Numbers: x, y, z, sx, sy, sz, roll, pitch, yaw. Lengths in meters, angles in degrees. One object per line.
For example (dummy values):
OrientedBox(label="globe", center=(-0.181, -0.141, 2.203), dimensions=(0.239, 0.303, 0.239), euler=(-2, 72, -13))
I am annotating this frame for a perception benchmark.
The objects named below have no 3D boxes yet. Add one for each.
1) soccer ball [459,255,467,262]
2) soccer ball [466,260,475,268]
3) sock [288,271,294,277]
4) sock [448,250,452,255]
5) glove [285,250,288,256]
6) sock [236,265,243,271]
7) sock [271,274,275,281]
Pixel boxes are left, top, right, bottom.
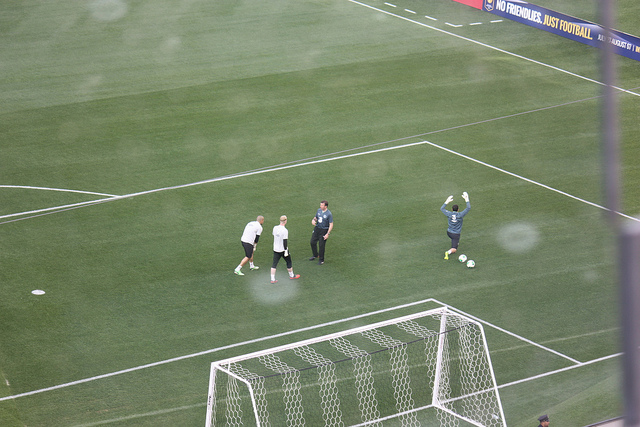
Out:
OrientedBox(label="soccer ball", center=(4.982, 1.478, 48.178), dimensions=(0.261, 0.193, 0.275), euler=(-2, 27, 1))
OrientedBox(label="soccer ball", center=(5.222, 1.660, 47.969), dimensions=(0.260, 0.194, 0.274), euler=(-2, 27, 1))
OrientedBox(label="sock", center=(-1.020, 2.012, 47.424), dimensions=(0.153, 0.167, 0.129), euler=(-3, 29, 0))
OrientedBox(label="sock", center=(4.518, 1.291, 48.293), dimensions=(0.043, 0.136, 0.167), euler=(10, -10, -32))
OrientedBox(label="glove", center=(-1.176, 1.228, 46.944), dimensions=(0.080, 0.233, 0.205), euler=(2, 29, 11))
OrientedBox(label="sock", center=(-2.837, 1.730, 47.457), dimensions=(0.203, 0.269, 0.361), euler=(-5, 27, -3))
OrientedBox(label="sock", center=(-1.660, 2.095, 47.173), dimensions=(0.111, 0.250, 0.147), euler=(-6, 30, -2))
